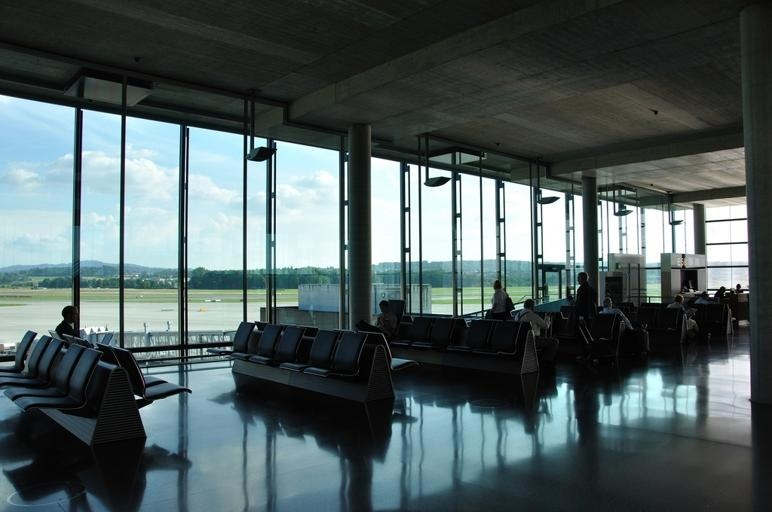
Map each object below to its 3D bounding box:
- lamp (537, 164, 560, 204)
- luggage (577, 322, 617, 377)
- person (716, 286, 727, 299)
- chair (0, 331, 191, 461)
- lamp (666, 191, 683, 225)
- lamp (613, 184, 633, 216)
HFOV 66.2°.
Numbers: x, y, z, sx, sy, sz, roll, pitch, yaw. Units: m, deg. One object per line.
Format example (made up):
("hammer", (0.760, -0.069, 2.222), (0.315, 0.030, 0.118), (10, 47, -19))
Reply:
("lamp", (4.990, -2.231, 18.358), (0.608, 1.292, 1.763), (1, 6, 13))
("luggage", (4.495, 1.881, 12.526), (0.912, 0.969, 0.804), (1, 14, 8))
("person", (10.953, 1.193, 19.336), (0.260, 0.442, 0.897), (3, 6, 27))
("chair", (-3.790, 1.809, 7.510), (1.473, 0.746, 2.206), (1, -3, -36))
("lamp", (12.180, -2.050, 24.970), (0.529, 1.258, 1.468), (3, 6, 25))
("lamp", (8.955, -2.089, 22.244), (0.606, 1.160, 1.769), (2, 6, 22))
